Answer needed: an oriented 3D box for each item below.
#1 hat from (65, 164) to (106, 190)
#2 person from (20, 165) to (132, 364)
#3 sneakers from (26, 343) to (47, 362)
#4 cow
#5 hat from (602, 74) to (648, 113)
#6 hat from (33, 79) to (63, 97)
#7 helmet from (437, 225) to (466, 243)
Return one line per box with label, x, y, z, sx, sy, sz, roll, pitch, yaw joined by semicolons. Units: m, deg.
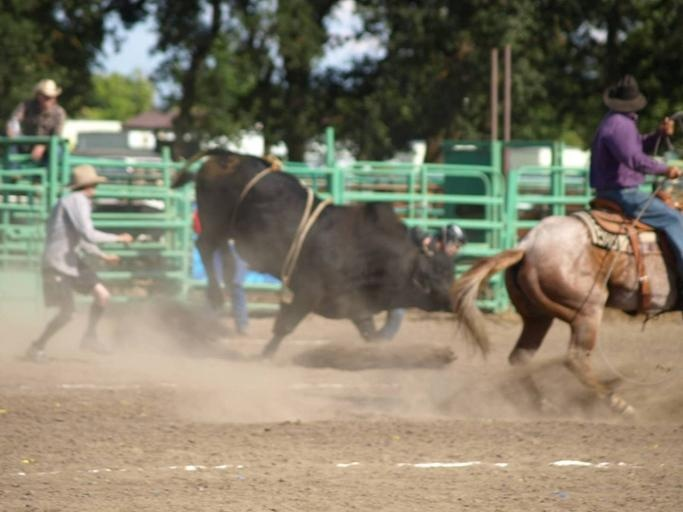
hat;-2.807;-0.853;14.032;0.439;0.150;0.334;-14;2;-16
person;-2.938;0.054;14.051;1.041;2.082;0.601;-2;4;-9
sneakers;-3.291;1.071;13.858;0.215;0.132;0.196;5;-3;-6
cow;-0.229;-0.027;13.158;2.579;2.156;0.725;-1;4;-4
hat;2.911;-1.633;12.893;0.477;0.347;0.165;-9;-32;-15
hat;-3.610;-2.053;15.708;0.288;0.225;0.310;-2;4;-12
helmet;1.126;-0.216;13.030;0.267;0.176;0.180;0;8;1
